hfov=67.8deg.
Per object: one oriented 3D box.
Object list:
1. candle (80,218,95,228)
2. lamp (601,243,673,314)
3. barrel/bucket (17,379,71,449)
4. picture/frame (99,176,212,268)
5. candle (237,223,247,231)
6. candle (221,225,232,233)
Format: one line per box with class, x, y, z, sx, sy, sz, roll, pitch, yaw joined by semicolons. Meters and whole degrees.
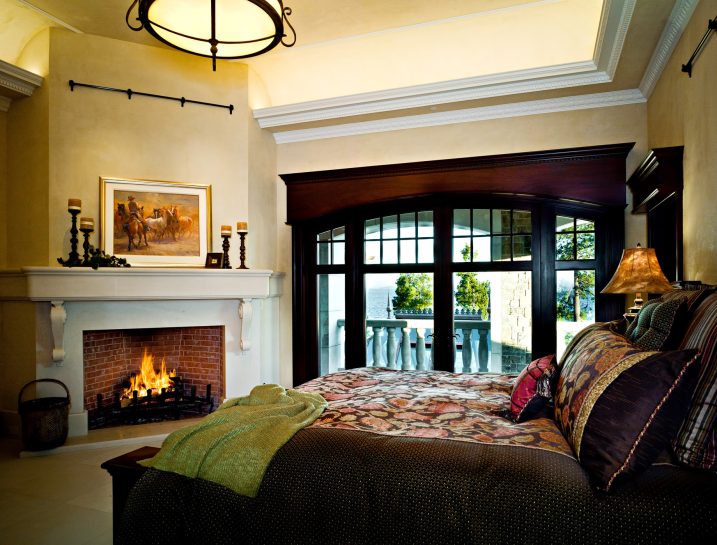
candle;-2.543;-0.452;5.019;0.116;0.086;0.118;0;-5;7
lamp;2.141;-0.006;4.083;0.515;0.557;0.541;-3;5;-26
barrel/bucket;-2.880;1.294;4.927;0.407;0.633;0.470;-2;-1;-30
picture/frame;-2.122;-0.505;5.453;0.923;0.760;0.038;1;1;-22
candle;-1.195;-0.468;5.505;0.088;0.069;0.091;-1;-4;18
candle;-1.346;-0.439;5.449;0.086;0.064;0.085;3;-2;-36
